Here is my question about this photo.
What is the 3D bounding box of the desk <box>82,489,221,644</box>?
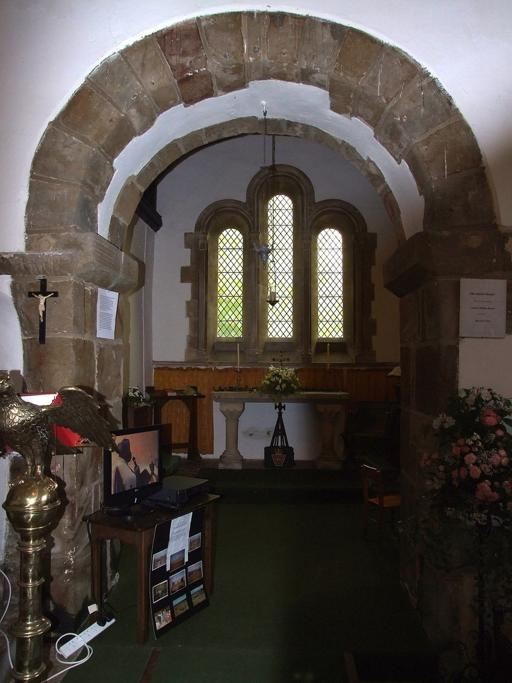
[{"bbox_3d":[-0.511,1.132,2.721,0.341,0.515,0.592,-3,-7,29],"label":"desk"}]

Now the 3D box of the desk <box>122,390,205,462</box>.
[{"bbox_3d":[-1.019,1.110,6.891,0.618,0.840,0.855,-1,-5,-18],"label":"desk"}]

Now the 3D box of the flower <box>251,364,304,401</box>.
[{"bbox_3d":[0.259,0.458,6.106,0.372,0.411,0.383,-1,5,-2],"label":"flower"}]

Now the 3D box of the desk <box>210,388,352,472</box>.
[{"bbox_3d":[0.325,1.045,6.545,1.685,0.945,1.141,0,-1,-5],"label":"desk"}]

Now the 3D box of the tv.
[{"bbox_3d":[-0.585,0.619,2.653,0.388,0.351,0.039,-16,-19,33],"label":"tv"}]

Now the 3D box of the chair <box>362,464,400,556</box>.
[{"bbox_3d":[0.890,1.140,3.798,0.243,0.419,0.275,10,-8,-35],"label":"chair"}]
